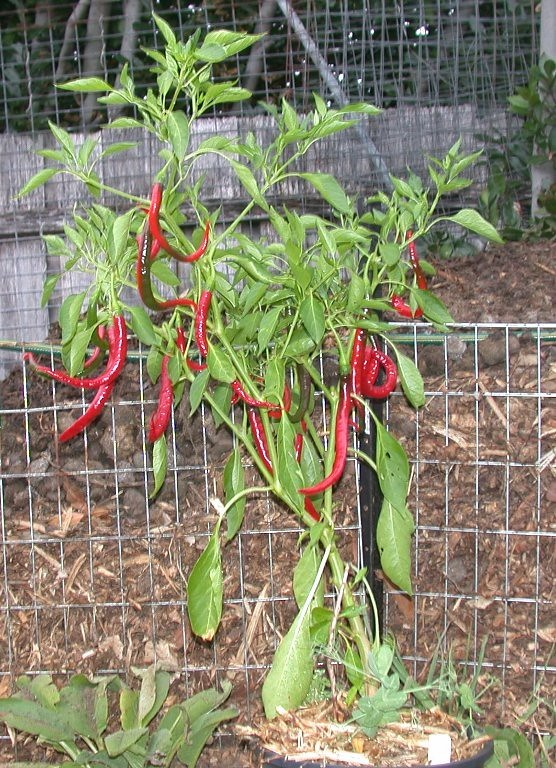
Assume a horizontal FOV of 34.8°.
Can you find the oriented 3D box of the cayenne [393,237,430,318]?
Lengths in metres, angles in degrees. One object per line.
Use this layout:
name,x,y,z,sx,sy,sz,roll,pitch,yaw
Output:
cayenne,0.277,-0.251,1.933,0.054,0.036,0.220,11,55,-14
